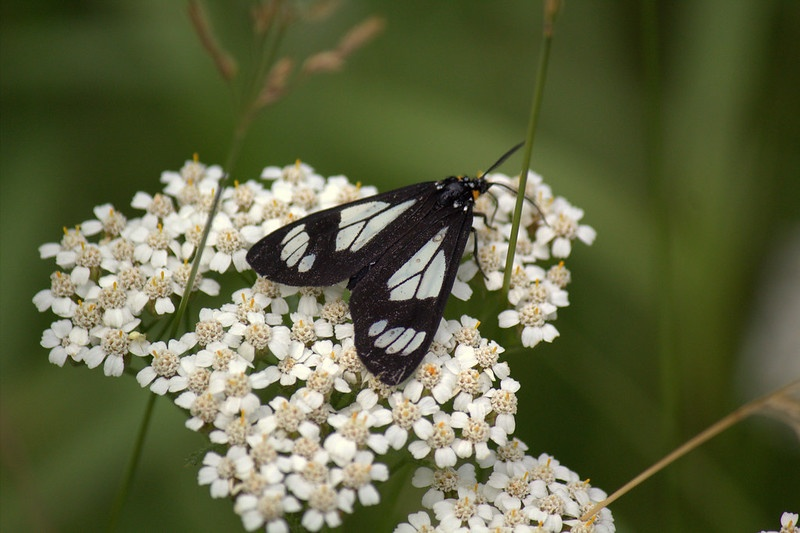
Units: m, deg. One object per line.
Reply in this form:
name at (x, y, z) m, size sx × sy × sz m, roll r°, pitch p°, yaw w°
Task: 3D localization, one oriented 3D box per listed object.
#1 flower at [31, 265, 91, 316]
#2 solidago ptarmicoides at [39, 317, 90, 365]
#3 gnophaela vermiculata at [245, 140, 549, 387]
flower at (-1.908, 0.149, 4.718) m, size 0.258 × 0.266 × 0.128 m, roll 40°, pitch -8°, yaw 18°
solidago ptarmicoides at (-1.842, 0.415, 4.584) m, size 0.250 × 0.234 × 0.068 m, roll 47°, pitch -20°, yaw 9°
gnophaela vermiculata at (-0.042, -0.060, 4.632) m, size 1.115 × 1.548 × 0.382 m, roll 36°, pitch -16°, yaw 27°
